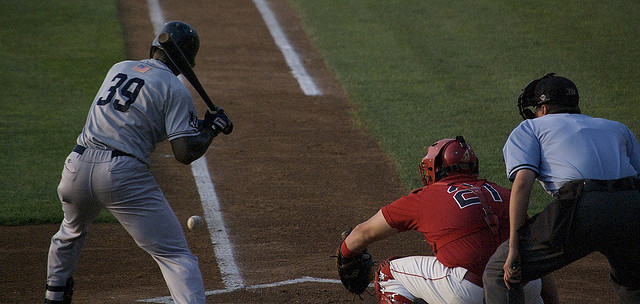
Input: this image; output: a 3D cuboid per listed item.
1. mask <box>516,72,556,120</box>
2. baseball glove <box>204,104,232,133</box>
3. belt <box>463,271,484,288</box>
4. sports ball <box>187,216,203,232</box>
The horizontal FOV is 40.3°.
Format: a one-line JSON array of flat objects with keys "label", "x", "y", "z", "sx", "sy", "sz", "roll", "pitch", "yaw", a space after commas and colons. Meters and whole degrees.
[{"label": "mask", "x": 3.966, "y": -1.016, "z": 16.631, "sx": 0.824, "sy": 0.846, "sz": 0.522, "roll": 6, "pitch": 18, "yaw": -30}, {"label": "baseball glove", "x": -1.960, "y": -0.601, "z": 16.419, "sx": 0.455, "sy": 0.199, "sz": 0.544, "roll": -22, "pitch": 60, "yaw": -34}, {"label": "belt", "x": 2.803, "y": 2.302, "z": 15.887, "sx": 0.364, "sy": 0.114, "sz": 0.254, "roll": 27, "pitch": 6, "yaw": 21}, {"label": "sports ball", "x": -2.567, "y": 1.462, "z": 17.754, "sx": 0.352, "sy": 0.303, "sz": 0.314, "roll": -1, "pitch": -4, "yaw": 17}]
